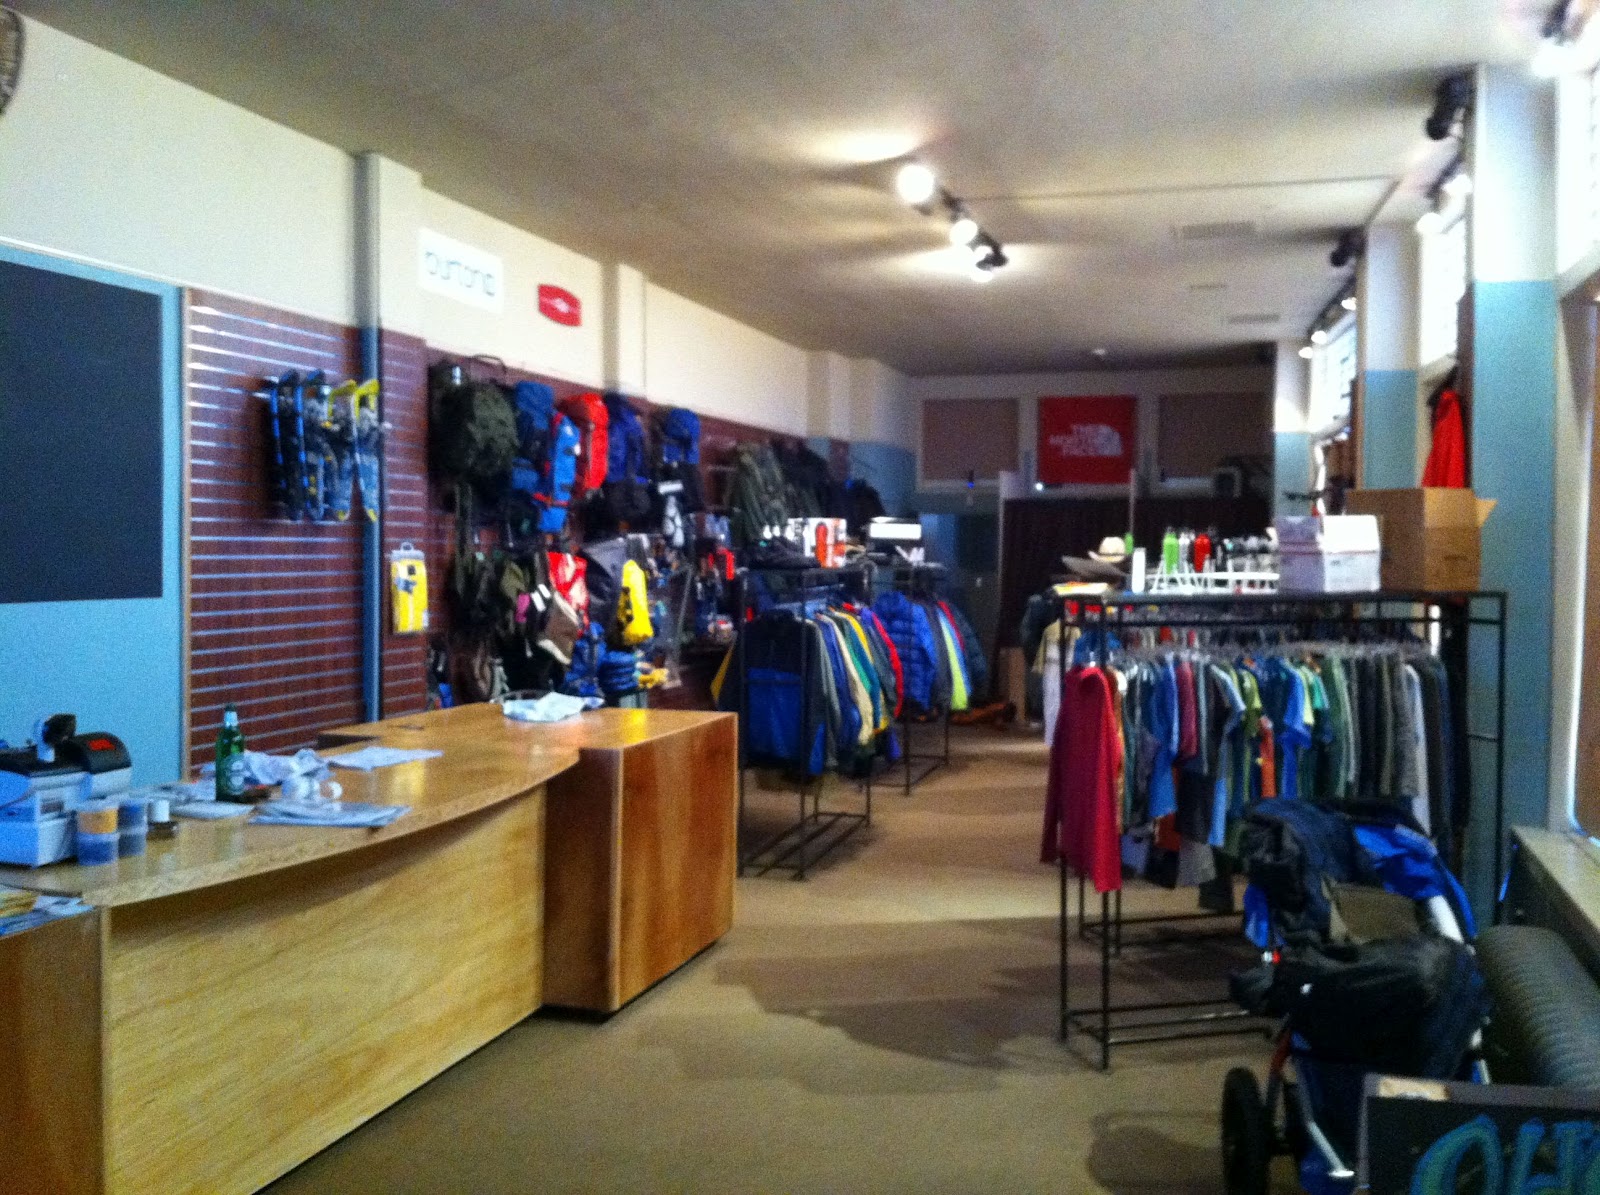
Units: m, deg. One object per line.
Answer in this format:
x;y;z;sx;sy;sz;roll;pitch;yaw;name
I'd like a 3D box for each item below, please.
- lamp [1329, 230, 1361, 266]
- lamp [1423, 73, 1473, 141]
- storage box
3.391;-2.164;7.432;0.143;0.157;0.119;12;1;-4;lamp
2.911;-2.201;5.379;0.108;0.129;0.300;7;-40;17;lamp
2.346;-0.229;4.924;0.579;0.363;0.577;-1;0;42;storage box
